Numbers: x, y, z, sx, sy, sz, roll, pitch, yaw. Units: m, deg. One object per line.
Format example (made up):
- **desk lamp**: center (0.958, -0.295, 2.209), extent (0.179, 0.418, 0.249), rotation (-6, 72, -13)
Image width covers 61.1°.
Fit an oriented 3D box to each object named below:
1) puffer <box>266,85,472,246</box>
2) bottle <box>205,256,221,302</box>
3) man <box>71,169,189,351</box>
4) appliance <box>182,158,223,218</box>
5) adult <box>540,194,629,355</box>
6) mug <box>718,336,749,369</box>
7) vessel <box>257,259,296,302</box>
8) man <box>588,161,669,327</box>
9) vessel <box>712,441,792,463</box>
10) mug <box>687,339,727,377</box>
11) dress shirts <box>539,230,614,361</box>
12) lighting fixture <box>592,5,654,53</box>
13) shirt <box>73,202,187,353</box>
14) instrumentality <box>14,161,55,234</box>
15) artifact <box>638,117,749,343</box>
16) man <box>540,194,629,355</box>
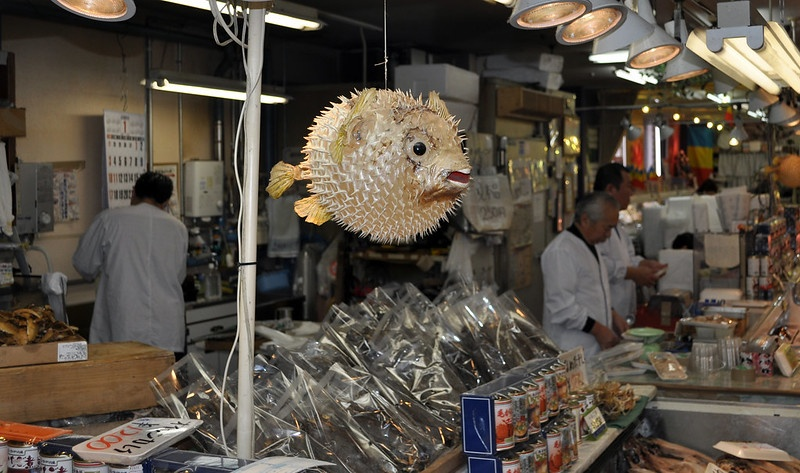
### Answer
- **puffer**: center (-0.224, -0.383, 3.814), extent (1.120, 0.840, 0.863), rotation (4, 2, 16)
- **bottle**: center (-2.004, 0.435, 7.250), extent (0.169, 0.429, 0.294), rotation (-2, 2, -17)
- **man**: center (-2.451, 0.389, 6.142), extent (0.866, 2.209, 0.760), rotation (-8, 31, -41)
- **appliance**: center (-2.149, -0.728, 7.572), extent (0.478, 0.918, 0.534), rotation (-3, 50, -17)
- **adult**: center (1.565, 0.348, 5.696), extent (0.621, 2.020, 0.771), rotation (4, 30, 26)
- **mug**: center (2.411, 0.848, 4.995), extent (0.193, 0.337, 0.201), rotation (-1, 3, 7)
- **vessel**: center (-1.535, 0.467, 8.429), extent (0.453, 0.428, 0.585), rotation (-2, 2, -8)
- **man**: center (2.158, 0.312, 6.515), extent (0.703, 1.955, 0.670), rotation (-2, 21, 10)
- **vessel**: center (2.271, 1.380, 4.366), extent (0.473, 0.114, 0.190), rotation (-1, 3, 14)
- **mug**: center (2.263, 0.860, 5.071), extent (0.280, 0.305, 0.294), rotation (-4, 12, 13)
- **dress shirts**: center (1.549, 0.424, 5.755), extent (0.587, 1.097, 0.884), rotation (9, 25, 34)
- **lighting fixture**: center (1.454, -1.356, 4.539), extent (0.368, 0.189, 0.281), rotation (-24, -32, 6)
- **shirt**: center (-2.287, 0.371, 5.877), extent (0.856, 1.299, 0.276), rotation (-3, 2, -28)
- **instrumentality**: center (-3.400, -0.362, 6.252), extent (0.354, 0.582, 0.375), rotation (-1, 0, 23)
- **artifact**: center (3.017, 0.067, 7.017), extent (1.339, 2.669, 1.407), rotation (1, 1, 26)
- **man**: center (1.565, 0.348, 5.696), extent (0.621, 2.020, 0.771), rotation (4, 30, 26)
